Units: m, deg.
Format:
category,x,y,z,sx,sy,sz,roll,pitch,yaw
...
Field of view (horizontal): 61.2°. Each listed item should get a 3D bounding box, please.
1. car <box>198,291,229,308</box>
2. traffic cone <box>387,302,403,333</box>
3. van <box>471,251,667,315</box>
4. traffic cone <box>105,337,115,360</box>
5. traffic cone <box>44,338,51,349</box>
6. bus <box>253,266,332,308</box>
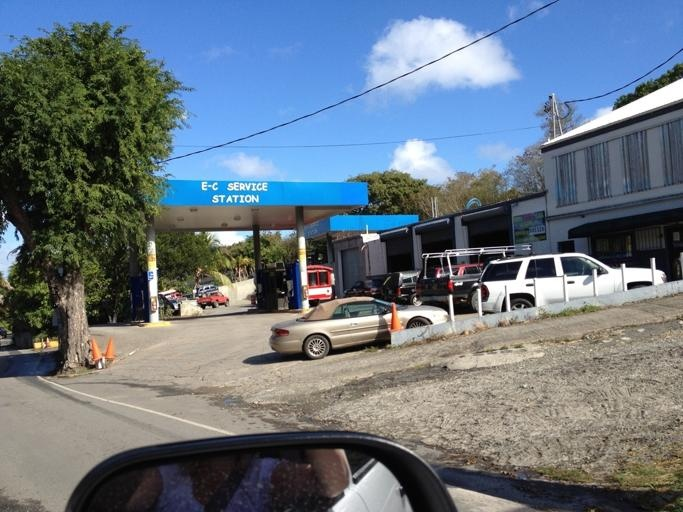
category,x,y,z,sx,sy,sz,roll,pitch,yaw
car,-12.420,4.417,55.678,1.725,1.577,5.875,-8,3,1
traffic cone,1.526,1.740,16.557,0.385,0.605,0.951,-8,3,5
van,6.874,0.847,18.325,4.954,2.034,2.404,-9,-1,4
traffic cone,-8.149,3.277,20.273,0.291,0.791,0.779,-9,3,-24
traffic cone,-18.664,5.627,36.769,0.413,0.511,0.411,-6,-10,43
bus,-2.595,2.031,37.571,4.158,2.663,2.840,2,-3,-33
